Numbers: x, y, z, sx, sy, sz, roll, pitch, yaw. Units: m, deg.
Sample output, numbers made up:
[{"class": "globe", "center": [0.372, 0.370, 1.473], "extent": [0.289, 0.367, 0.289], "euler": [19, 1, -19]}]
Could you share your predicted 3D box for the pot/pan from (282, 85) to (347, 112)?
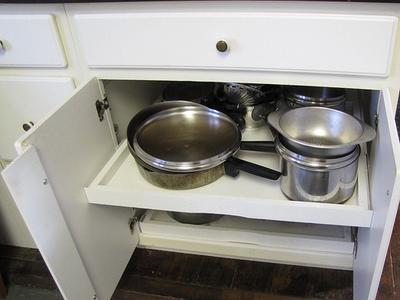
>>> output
[{"class": "pot/pan", "center": [0.384, -0.182, 1.106], "extent": [0.144, 0.055, 0.138], "euler": [6, 41, 11]}]

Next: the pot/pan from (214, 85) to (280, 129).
[{"class": "pot/pan", "center": [0.160, -0.166, 1.124], "extent": [0.136, 0.076, 0.208], "euler": [7, 46, 12]}]

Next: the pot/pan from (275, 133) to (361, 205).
[{"class": "pot/pan", "center": [0.310, 0.074, 0.847], "extent": [0.175, 0.115, 0.185], "euler": [0, 36, 5]}]
